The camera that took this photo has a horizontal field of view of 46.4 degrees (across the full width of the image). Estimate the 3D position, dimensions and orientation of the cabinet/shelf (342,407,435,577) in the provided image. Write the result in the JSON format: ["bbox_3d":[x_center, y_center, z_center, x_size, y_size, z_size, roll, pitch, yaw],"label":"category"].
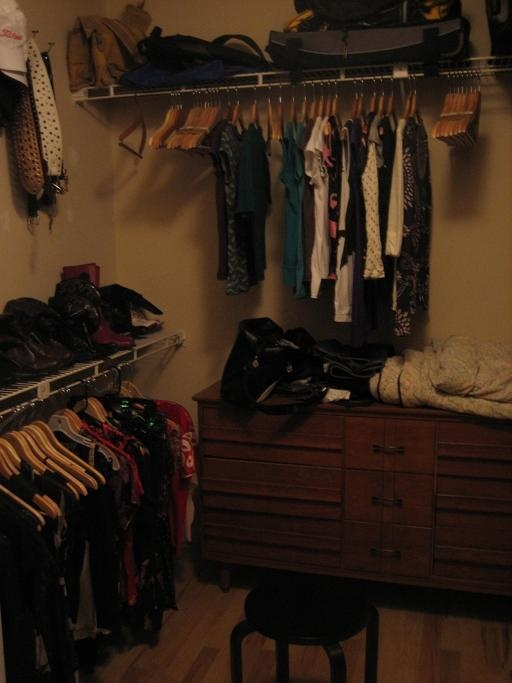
[{"bbox_3d":[0.487,0.476,2.222,0.351,0.672,0.395,-3,25,3],"label":"cabinet/shelf"}]

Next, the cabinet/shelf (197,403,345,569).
[{"bbox_3d":[0.097,0.509,2.324,0.563,0.653,0.357,1,-4,15],"label":"cabinet/shelf"}]

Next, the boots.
[{"bbox_3d":[-0.579,-0.138,2.212,0.234,0.278,0.487,-7,13,-26],"label":"boots"}]

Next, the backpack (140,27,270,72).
[{"bbox_3d":[-0.207,-1.088,2.317,0.372,0.143,0.257,7,29,-2],"label":"backpack"}]
